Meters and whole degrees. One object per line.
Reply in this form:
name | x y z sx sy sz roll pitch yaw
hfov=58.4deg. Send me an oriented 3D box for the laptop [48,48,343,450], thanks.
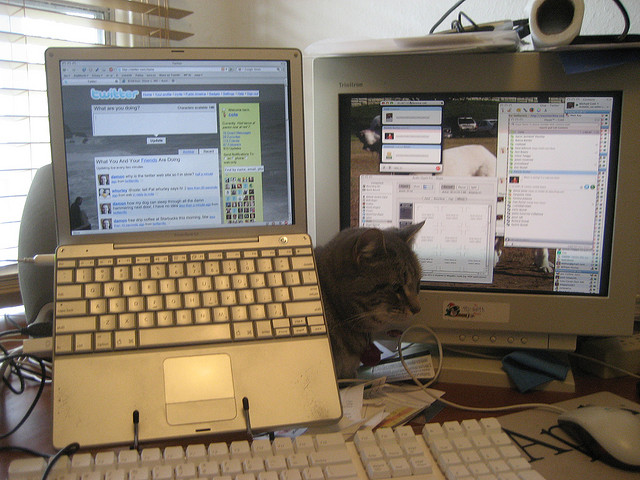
laptop | -0.194 -0.036 0.874 0.430 0.329 0.560 1 40 -9
